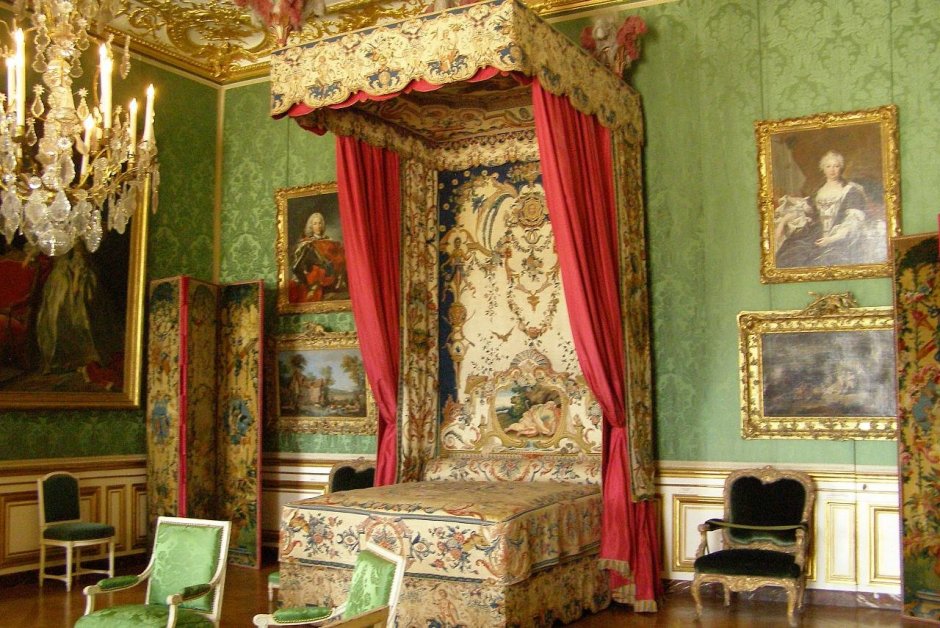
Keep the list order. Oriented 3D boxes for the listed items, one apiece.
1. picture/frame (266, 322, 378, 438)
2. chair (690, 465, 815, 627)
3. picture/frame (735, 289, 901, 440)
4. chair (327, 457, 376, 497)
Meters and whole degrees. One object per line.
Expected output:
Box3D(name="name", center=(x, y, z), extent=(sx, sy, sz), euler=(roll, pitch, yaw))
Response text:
Box3D(name="picture/frame", center=(-1.476, 0.688, 8.220), extent=(1.254, 1.056, 0.063), euler=(-1, -4, 21))
Box3D(name="chair", center=(2.280, 1.819, 6.413), extent=(0.857, 1.140, 0.825), euler=(-4, -8, 28))
Box3D(name="picture/frame", center=(2.941, 0.438, 6.641), extent=(1.304, 1.059, 0.115), euler=(-1, -4, 22))
Box3D(name="chair", center=(-1.113, 1.513, 7.472), extent=(0.324, 0.511, 0.376), euler=(0, -10, 2))
